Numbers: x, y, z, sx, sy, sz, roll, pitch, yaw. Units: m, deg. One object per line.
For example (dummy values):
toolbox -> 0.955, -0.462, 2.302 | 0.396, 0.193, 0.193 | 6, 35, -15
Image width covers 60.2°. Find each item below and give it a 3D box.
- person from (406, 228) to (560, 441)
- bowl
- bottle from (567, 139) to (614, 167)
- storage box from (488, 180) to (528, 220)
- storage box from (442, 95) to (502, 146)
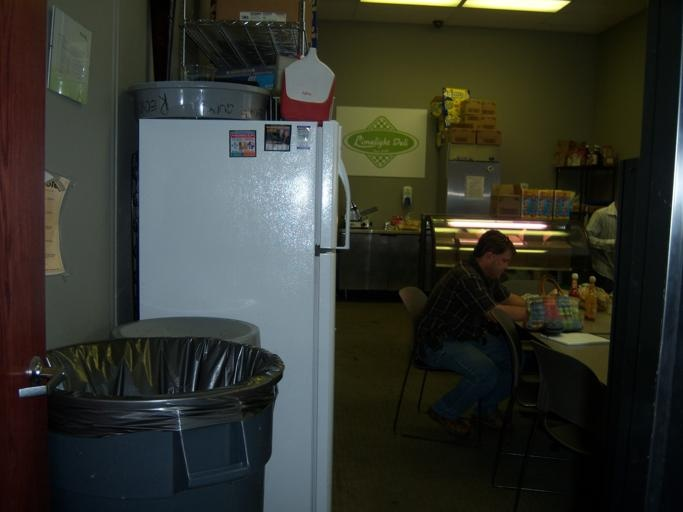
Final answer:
person -> 0.794, 0.438, 3.465 | 0.679, 1.182, 0.641 | 4, 4, 18
bowl -> -0.571, -0.627, 2.375 | 0.526, 0.143, 0.155 | -1, 8, -20
bottle -> 3.275, -1.332, 7.728 | 0.585, 0.337, 0.400 | 11, 9, 40
storage box -> 1.786, -0.600, 6.330 | 0.390, 0.430, 0.427 | 0, 0, 7
storage box -> 1.641, -1.664, 7.359 | 0.591, 0.465, 0.613 | 1, 10, 10
